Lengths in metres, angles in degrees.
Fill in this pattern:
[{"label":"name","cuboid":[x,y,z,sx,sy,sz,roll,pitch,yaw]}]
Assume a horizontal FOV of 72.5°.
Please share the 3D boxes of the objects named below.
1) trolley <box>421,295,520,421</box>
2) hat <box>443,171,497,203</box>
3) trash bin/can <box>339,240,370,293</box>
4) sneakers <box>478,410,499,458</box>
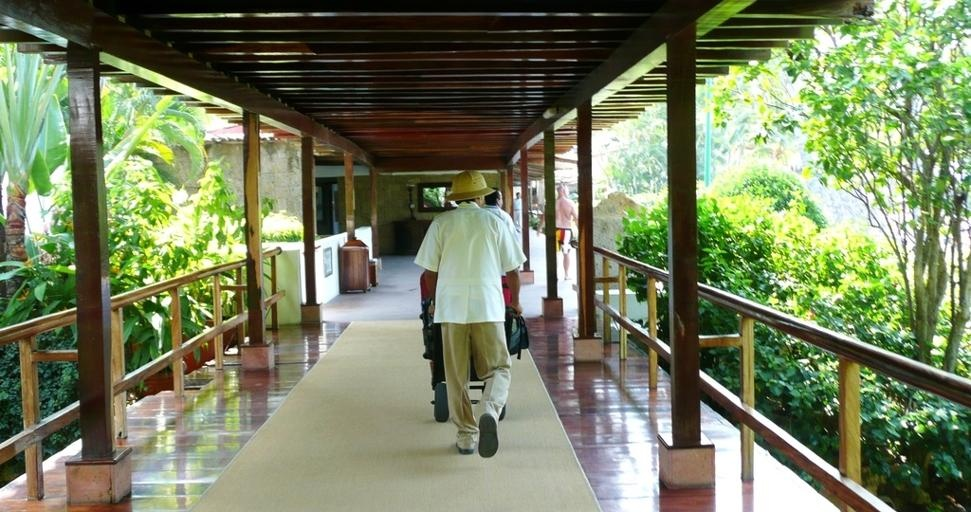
[{"label":"trolley","cuboid":[-0.215,1.219,7.756,1.099,1.235,1.031,-2,-5,-11]},{"label":"hat","cuboid":[-0.180,-0.777,7.432,0.461,0.192,0.444,-5,14,12]},{"label":"trash bin/can","cuboid":[-2.942,0.216,14.534,0.604,1.116,0.407,-1,15,0]},{"label":"sneakers","cuboid":[0.013,1.888,6.979,0.222,0.465,0.205,2,-6,0]}]
